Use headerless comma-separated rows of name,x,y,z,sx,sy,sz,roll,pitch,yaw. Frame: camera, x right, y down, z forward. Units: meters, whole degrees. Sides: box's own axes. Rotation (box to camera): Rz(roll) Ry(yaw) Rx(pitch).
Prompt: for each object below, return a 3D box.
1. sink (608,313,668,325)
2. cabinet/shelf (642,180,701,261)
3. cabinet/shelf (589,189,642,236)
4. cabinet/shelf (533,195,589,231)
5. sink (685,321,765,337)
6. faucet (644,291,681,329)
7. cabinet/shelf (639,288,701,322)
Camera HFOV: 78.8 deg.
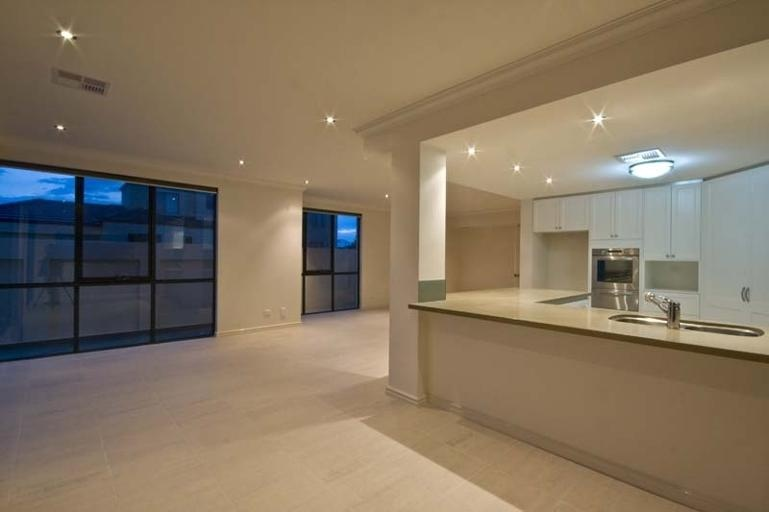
sink,2.480,0.625,4.626,0.247,0.085,0.176,-3,-1,43
cabinet/shelf,4.133,-0.449,6.772,0.709,1.147,0.468,1,-6,30
cabinet/shelf,3.487,-0.653,7.012,0.359,0.723,0.685,2,-2,-39
cabinet/shelf,2.875,-0.721,7.792,0.828,0.569,0.462,-3,14,15
sink,3.109,0.672,4.315,0.412,0.104,0.209,-4,-1,43
faucet,2.604,0.493,4.390,0.098,0.269,0.352,-11,16,-21
cabinet/shelf,3.541,0.603,5.762,0.158,0.446,0.452,3,-4,-41
